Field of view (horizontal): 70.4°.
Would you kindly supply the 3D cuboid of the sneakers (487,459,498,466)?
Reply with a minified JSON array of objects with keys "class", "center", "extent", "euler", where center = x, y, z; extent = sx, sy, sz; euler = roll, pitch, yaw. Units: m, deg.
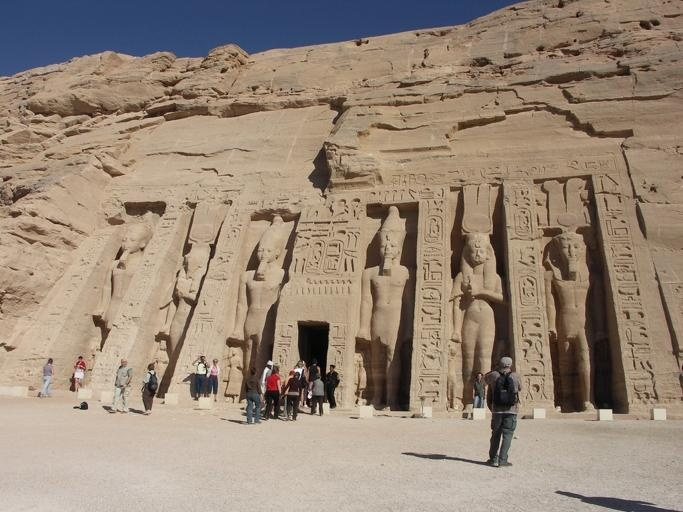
[{"class":"sneakers","center":[1.636,2.222,5.206],"extent":[0.076,0.070,0.142],"euler":[10,-21,-8]}]

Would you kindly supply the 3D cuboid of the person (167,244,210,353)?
[{"class":"person","center":[-4.419,1.082,13.817],"extent":[0.765,3.231,0.310],"euler":[4,-23,10]}]

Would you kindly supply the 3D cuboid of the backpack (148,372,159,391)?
[{"class":"backpack","center":[-3.623,2.400,9.228],"extent":[0.130,0.359,0.301],"euler":[7,-22,2]}]

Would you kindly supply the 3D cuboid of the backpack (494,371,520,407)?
[{"class":"backpack","center":[1.803,1.450,5.248],"extent":[0.376,0.381,0.233],"euler":[2,-32,16]}]
